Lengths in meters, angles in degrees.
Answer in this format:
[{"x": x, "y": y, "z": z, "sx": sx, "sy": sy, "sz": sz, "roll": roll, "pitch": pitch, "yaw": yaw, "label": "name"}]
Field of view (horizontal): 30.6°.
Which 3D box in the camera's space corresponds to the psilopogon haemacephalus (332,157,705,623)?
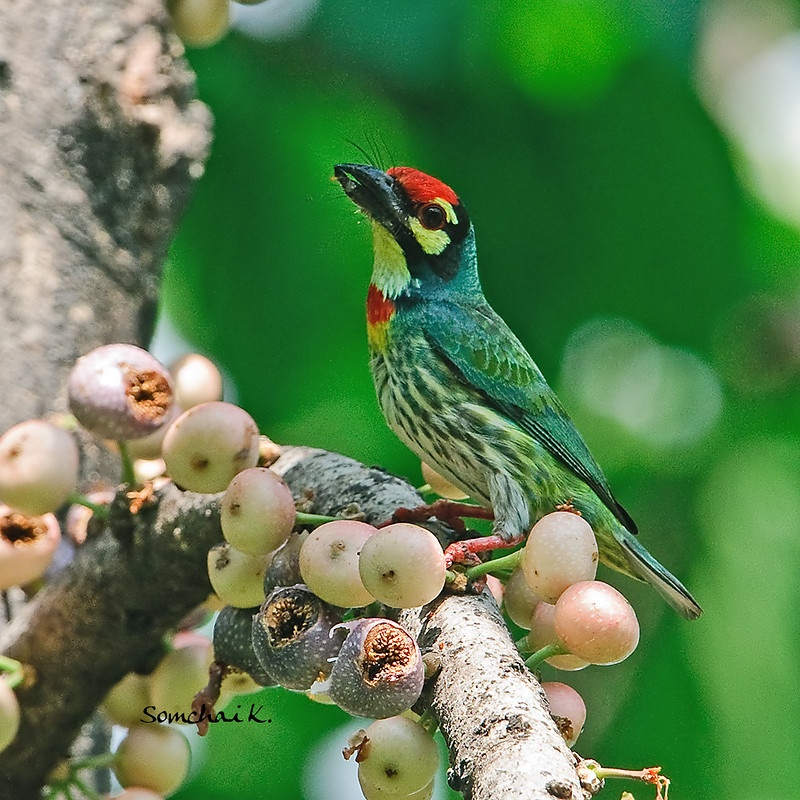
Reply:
[{"x": 0.207, "y": -0.015, "z": 3.209, "sx": 0.535, "sy": 0.626, "sz": 1.256, "roll": 9, "pitch": 109, "yaw": 24, "label": "psilopogon haemacephalus"}]
